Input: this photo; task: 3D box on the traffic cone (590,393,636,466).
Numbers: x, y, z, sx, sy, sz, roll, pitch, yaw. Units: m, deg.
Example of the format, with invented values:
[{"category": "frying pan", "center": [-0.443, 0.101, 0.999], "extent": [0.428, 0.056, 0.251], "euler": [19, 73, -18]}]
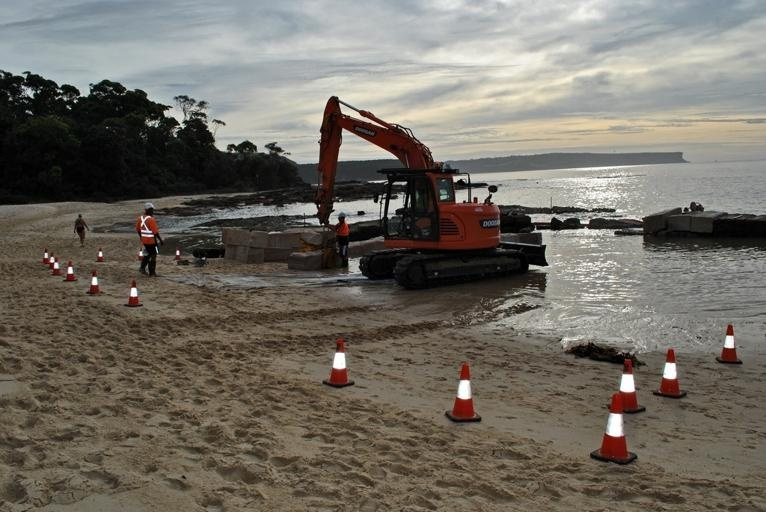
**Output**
[{"category": "traffic cone", "center": [3.193, 2.242, 7.826], "extent": [0.574, 0.952, 0.610], "euler": [7, 15, 22]}]

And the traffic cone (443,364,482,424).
[{"category": "traffic cone", "center": [1.234, 1.975, 8.758], "extent": [0.540, 0.849, 0.740], "euler": [2, 13, 6]}]
